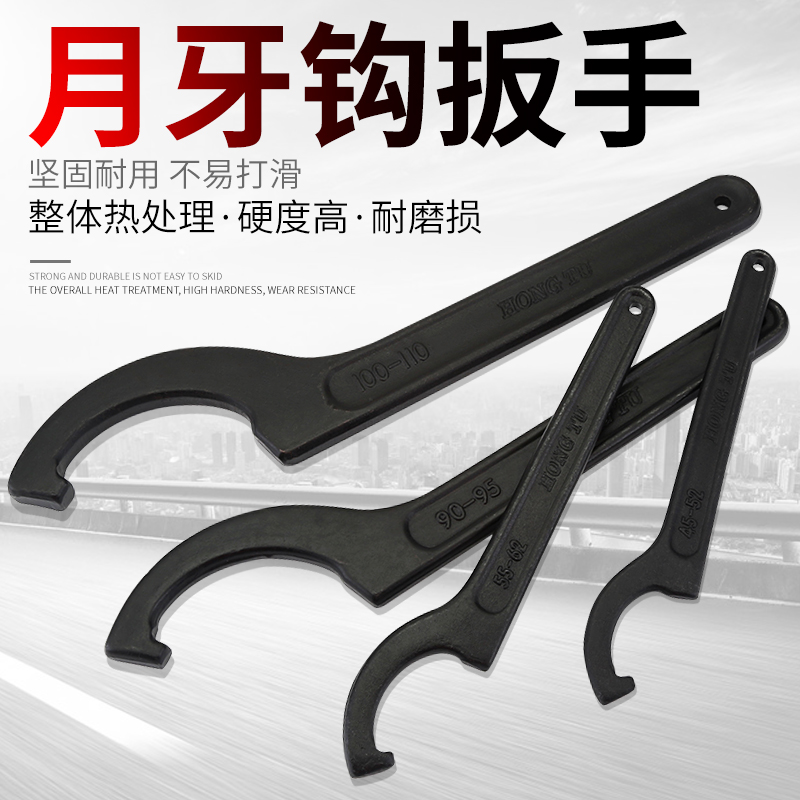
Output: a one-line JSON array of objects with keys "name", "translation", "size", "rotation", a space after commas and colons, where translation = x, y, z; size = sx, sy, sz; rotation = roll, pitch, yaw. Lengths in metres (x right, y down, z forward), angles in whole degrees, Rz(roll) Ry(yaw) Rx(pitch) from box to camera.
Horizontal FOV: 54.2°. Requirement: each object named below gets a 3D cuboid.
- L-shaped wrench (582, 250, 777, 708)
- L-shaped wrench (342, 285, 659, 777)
[{"name": "L-shaped wrench", "translation": [0.535, -0.081, 1.441], "size": [0.280, 1.338, 0.060], "rotation": [20, -35, 3]}, {"name": "L-shaped wrench", "translation": [0.244, 0.121, 1.192], "size": [0.211, 0.972, 0.040], "rotation": [28, -25, 24]}]
